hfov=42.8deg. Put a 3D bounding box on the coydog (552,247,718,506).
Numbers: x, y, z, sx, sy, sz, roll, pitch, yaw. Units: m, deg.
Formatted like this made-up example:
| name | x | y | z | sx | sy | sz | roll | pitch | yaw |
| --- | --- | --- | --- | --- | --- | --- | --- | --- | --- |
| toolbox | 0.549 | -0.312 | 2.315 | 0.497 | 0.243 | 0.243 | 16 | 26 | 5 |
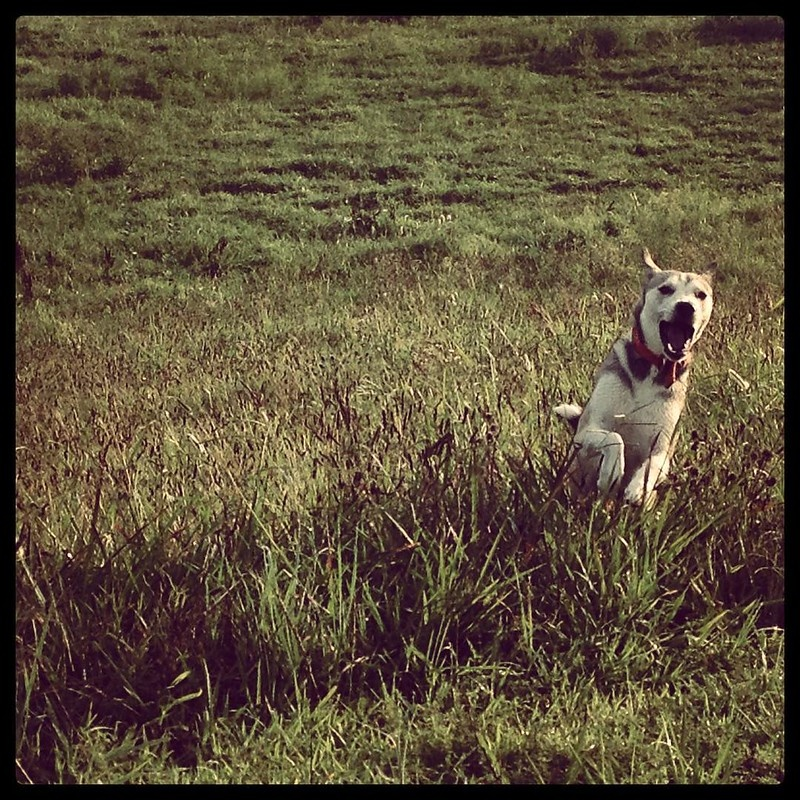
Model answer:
| name | x | y | z | sx | sy | sz | roll | pitch | yaw |
| --- | --- | --- | --- | --- | --- | --- | --- | --- | --- |
| coydog | 1.078 | -0.126 | 4.627 | 0.582 | 1.050 | 0.745 | 6 | 10 | 19 |
